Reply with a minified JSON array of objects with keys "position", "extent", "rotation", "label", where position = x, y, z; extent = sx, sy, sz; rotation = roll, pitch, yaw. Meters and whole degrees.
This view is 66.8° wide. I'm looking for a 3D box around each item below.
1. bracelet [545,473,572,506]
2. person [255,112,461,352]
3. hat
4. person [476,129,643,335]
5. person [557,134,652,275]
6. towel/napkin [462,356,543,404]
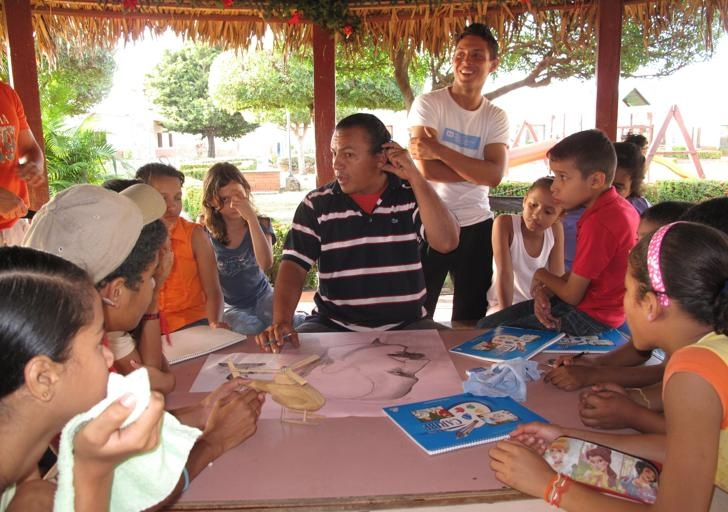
[{"position":[0.586,0.722,1.696],"extent":[0.030,0.084,0.078],"rotation":[17,0,10],"label":"bracelet"},{"position":[0.011,-0.088,3.112],"extent":[1.017,1.372,0.869],"rotation":[-2,14,3],"label":"person"},{"position":[-0.994,-0.151,2.031],"extent":[0.476,0.232,0.311],"rotation":[-42,30,-17],"label":"hat"},{"position":[1.125,-0.107,3.218],"extent":[0.845,1.169,0.599],"rotation":[3,11,17],"label":"person"},{"position":[1.639,-0.116,3.740],"extent":[0.529,1.417,0.481],"rotation":[5,-9,16],"label":"person"},{"position":[0.540,0.485,2.156],"extent":[0.179,0.061,0.186],"rotation":[-16,12,-28],"label":"towel/napkin"}]
